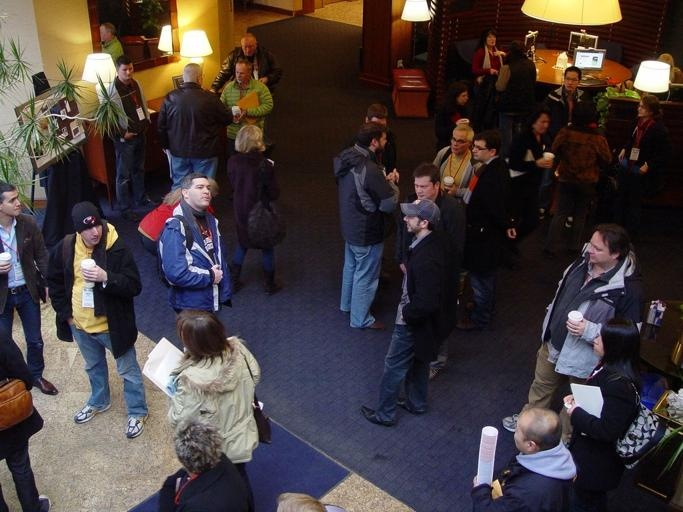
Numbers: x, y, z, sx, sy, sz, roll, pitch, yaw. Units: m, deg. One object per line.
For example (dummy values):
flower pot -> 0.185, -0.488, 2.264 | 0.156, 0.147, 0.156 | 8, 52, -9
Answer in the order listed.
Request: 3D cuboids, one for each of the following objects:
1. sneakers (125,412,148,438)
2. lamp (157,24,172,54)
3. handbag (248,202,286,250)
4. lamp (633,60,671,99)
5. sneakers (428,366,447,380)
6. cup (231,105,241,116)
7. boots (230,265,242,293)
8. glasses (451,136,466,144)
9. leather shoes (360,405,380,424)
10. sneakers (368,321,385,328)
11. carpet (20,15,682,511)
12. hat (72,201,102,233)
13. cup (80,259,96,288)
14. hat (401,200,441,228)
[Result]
sneakers -> -1.659, 1.367, 3.956 | 0.086, 0.094, 0.206 | 9, 43, -7
lamp -> -2.816, -3.421, 7.773 | 0.275, 0.381, 0.284 | 18, 38, 5
handbag -> -0.819, -0.310, 5.250 | 0.269, 0.494, 0.446 | 11, 24, 37
lamp -> 4.721, -2.740, 7.493 | 0.532, 0.523, 0.543 | 9, 41, 19
sneakers -> 0.877, 1.063, 4.549 | 0.211, 0.088, 0.066 | -19, 30, -38
cup -> -1.446, -1.972, 6.782 | 0.117, 0.116, 0.121 | 1, 45, -1
boots -> -1.183, 0.259, 5.479 | 0.120, 0.259, 0.271 | 3, 55, 0
glasses -> 1.165, -1.138, 4.876 | 0.075, 0.033, 0.079 | 15, 34, 32
leather shoes -> 0.242, 1.305, 4.090 | 0.082, 0.057, 0.141 | -29, 48, -31
sneakers -> 0.364, 0.718, 5.079 | 0.176, 0.077, 0.061 | -4, 66, -10
carpet -> 0.019, -0.044, 4.809 | 4.472, 1.204, 4.871 | -23, 46, -27
hat -> -1.823, -0.264, 3.524 | 0.175, 0.236, 0.217 | -11, 26, -26
cup -> -1.788, 0.123, 3.473 | 0.117, 0.178, 0.117 | 8, 35, -6
hat -> 0.576, -0.314, 3.601 | 0.245, 0.133, 0.168 | 19, 24, -3
